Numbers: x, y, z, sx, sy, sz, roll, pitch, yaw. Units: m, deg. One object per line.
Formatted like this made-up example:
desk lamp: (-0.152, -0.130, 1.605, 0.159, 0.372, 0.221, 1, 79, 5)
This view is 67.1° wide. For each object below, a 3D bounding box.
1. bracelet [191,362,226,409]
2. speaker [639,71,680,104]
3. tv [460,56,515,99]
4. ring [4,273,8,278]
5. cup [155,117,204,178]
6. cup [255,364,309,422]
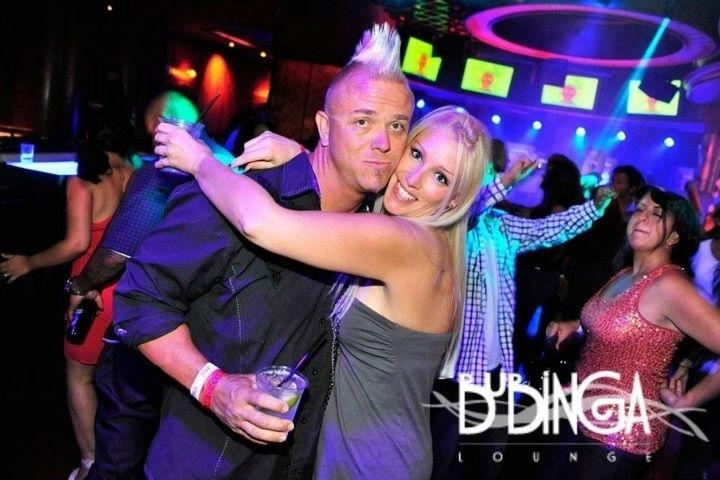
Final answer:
bracelet: (-0.807, 0.760, 2.859, 0.143, 0.213, 0.080, 15, 13, 10)
speaker: (5.129, -2.638, 9.394, 0.587, 0.284, 0.758, 20, -8, 32)
tv: (2.476, -3.213, 10.559, 0.837, 0.544, 0.109, 9, 17, -3)
ring: (-3.098, 0.305, 4.728, 0.020, 0.028, 0.007, -6, 14, -8)
cup: (-1.031, -0.537, 3.272, 0.351, 0.350, 0.354, 8, 7, -1)
cup: (-0.429, 0.845, 2.910, 0.286, 0.223, 0.301, 13, 3, -1)
